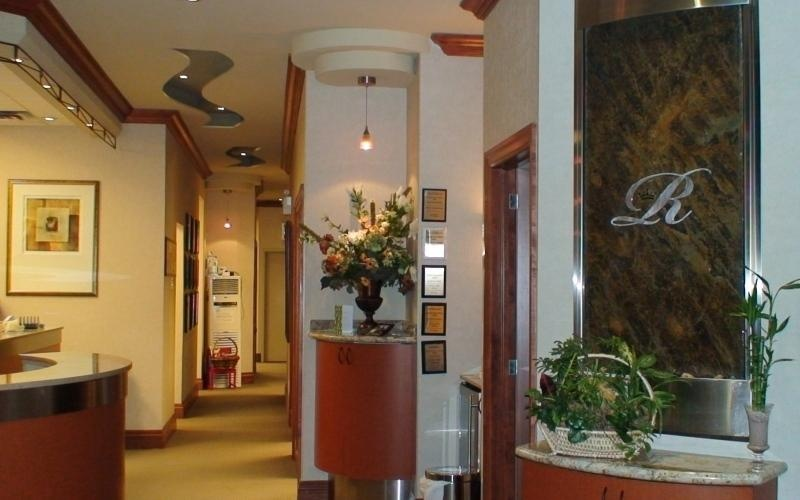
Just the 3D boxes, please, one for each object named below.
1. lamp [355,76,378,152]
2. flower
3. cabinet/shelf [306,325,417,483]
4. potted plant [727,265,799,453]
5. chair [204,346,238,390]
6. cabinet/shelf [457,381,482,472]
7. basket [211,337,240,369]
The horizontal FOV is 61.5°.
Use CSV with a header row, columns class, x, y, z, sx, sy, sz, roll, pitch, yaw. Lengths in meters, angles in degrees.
class,x,y,z,sx,sy,sz,roll,pitch,yaw
lamp,-0.312,-1.219,6.108,0.169,0.519,0.421,1,0,-3
flower,-0.399,-0.037,6.203,1.005,0.957,1.034,1,-2,-10
cabinet/shelf,-0.342,1.383,6.058,0.783,1.119,1.221,4,-8,-25
potted plant,1.958,0.589,3.606,0.312,1.046,0.358,1,0,28
chair,-2.996,2.049,11.620,0.685,0.836,0.607,1,-6,-11
cabinet/shelf,0.574,1.450,5.513,0.128,0.620,0.402,1,0,-6
basket,-2.961,1.761,11.582,0.519,0.547,0.482,1,2,2
